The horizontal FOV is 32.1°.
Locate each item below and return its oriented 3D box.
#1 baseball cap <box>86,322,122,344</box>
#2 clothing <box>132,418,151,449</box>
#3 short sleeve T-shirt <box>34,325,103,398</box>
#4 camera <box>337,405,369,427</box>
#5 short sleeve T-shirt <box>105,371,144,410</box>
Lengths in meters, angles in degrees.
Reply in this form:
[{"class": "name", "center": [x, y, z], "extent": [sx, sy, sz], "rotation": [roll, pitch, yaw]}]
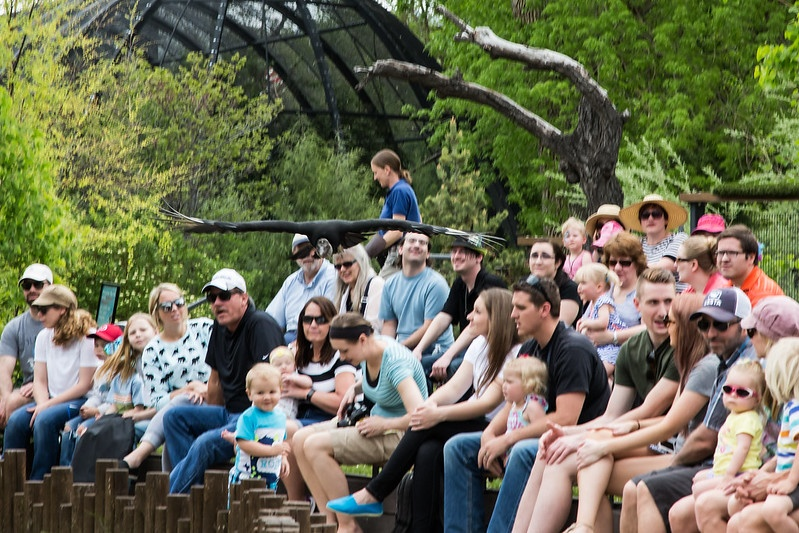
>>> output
[{"class": "baseball cap", "center": [-4.182, 0.967, 20.051], "extent": [0.239, 0.185, 0.380], "rotation": [1, 0, 27]}, {"class": "clothing", "center": [-3.567, 2.317, 19.298], "extent": [0.276, 0.354, 0.117], "rotation": [0, -10, 15]}, {"class": "short sleeve T-shirt", "center": [-4.729, 1.419, 20.128], "extent": [0.789, 1.112, 0.455], "rotation": [1, -4, 14]}, {"class": "camera", "center": [-0.594, 1.982, 18.262], "extent": [0.314, 0.123, 0.306], "rotation": [-49, 8, -7]}, {"class": "short sleeve T-shirt", "center": [-3.810, 1.745, 19.535], "extent": [0.408, 0.456, 0.180], "rotation": [-2, -18, 28]}]
